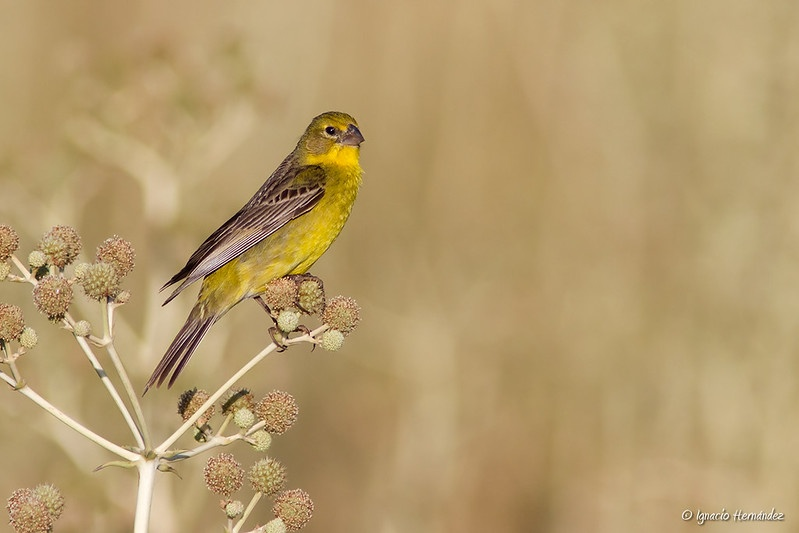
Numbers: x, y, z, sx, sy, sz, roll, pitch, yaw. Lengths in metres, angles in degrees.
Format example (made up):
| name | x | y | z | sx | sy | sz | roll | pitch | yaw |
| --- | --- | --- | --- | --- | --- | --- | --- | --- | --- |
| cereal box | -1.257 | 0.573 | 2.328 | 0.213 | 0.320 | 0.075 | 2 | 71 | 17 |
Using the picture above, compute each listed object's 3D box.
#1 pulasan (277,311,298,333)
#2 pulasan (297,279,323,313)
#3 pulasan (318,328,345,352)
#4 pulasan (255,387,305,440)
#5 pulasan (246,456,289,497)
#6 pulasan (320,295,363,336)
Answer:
| name | x | y | z | sx | sy | sz | roll | pitch | yaw |
| --- | --- | --- | --- | --- | --- | --- | --- | --- | --- |
| pulasan | -0.649 | 0.320 | 5.866 | 0.113 | 0.123 | 0.118 | 3 | 2 | 1 |
| pulasan | -0.529 | 0.182 | 6.087 | 0.160 | 0.153 | 0.189 | -7 | -71 | 2 |
| pulasan | -0.406 | 0.436 | 5.803 | 0.143 | 0.121 | 0.135 | -3 | 10 | 25 |
| pulasan | -0.711 | 0.834 | 5.746 | 0.228 | 0.189 | 0.241 | 24 | -40 | -15 |
| pulasan | -0.761 | 1.240 | 5.861 | 0.213 | 0.224 | 0.219 | -1 | 8 | -11 |
| pulasan | -0.340 | 0.279 | 5.906 | 0.205 | 0.215 | 0.207 | -6 | -10 | 4 |
